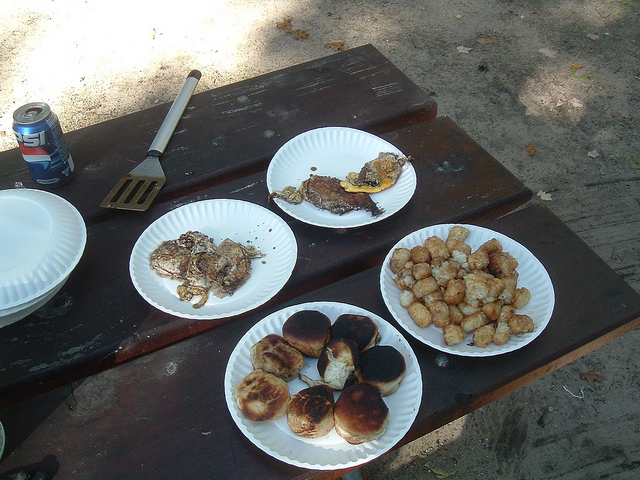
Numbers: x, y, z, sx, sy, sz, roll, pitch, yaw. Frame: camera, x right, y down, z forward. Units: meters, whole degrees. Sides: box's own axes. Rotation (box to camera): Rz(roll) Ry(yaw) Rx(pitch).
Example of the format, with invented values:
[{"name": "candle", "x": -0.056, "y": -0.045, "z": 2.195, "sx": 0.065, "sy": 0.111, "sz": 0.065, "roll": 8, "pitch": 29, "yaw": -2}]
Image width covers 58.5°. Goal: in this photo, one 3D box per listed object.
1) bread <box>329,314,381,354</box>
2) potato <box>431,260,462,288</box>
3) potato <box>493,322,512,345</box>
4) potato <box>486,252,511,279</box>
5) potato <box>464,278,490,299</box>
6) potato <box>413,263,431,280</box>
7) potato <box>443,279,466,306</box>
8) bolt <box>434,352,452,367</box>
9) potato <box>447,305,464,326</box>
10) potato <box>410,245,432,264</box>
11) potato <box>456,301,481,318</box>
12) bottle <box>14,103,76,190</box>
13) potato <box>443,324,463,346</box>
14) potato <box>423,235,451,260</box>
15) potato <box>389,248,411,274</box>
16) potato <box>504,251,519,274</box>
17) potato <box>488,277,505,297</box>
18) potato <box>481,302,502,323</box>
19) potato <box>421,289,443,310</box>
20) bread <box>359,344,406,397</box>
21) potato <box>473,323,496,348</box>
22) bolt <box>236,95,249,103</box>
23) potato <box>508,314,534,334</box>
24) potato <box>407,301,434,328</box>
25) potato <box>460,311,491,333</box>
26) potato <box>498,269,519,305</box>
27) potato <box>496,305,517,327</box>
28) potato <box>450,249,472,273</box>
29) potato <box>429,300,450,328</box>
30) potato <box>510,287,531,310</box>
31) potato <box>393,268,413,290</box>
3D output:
[{"name": "bread", "x": 0.157, "y": 0.386, "z": 2.449, "sx": 0.166, "sy": 0.043, "sz": 0.163, "roll": 31, "pitch": 50, "yaw": 21}, {"name": "potato", "x": 0.581, "y": 0.156, "z": 2.651, "sx": 0.131, "sy": 0.032, "sz": 0.088, "roll": -41, "pitch": 66, "yaw": -16}, {"name": "potato", "x": 0.804, "y": 0.413, "z": 2.529, "sx": 0.072, "sy": 0.032, "sz": 0.090, "roll": 12, "pitch": 82, "yaw": 11}, {"name": "potato", "x": 0.837, "y": 0.120, "z": 2.661, "sx": 0.097, "sy": 0.041, "sz": 0.109, "roll": -2, "pitch": 57, "yaw": 13}, {"name": "potato", "x": 0.714, "y": 0.221, "z": 2.599, "sx": 0.101, "sy": 0.059, "sz": 0.092, "roll": 2, "pitch": 64, "yaw": -6}, {"name": "potato", "x": 0.471, "y": 0.143, "z": 2.639, "sx": 0.078, "sy": 0.039, "sz": 0.069, "roll": -18, "pitch": 71, "yaw": -11}, {"name": "potato", "x": 0.616, "y": 0.239, "z": 2.599, "sx": 0.086, "sy": 0.042, "sz": 0.115, "roll": 20, "pitch": 87, "yaw": 9}, {"name": "bolt", "x": 0.543, "y": 0.531, "z": 2.546, "sx": 0.057, "sy": 0.013, "sz": 0.056, "roll": 26, "pitch": 69, "yaw": 14}, {"name": "potato", "x": 0.613, "y": 0.342, "z": 2.595, "sx": 0.077, "sy": 0.038, "sz": 0.074, "roll": 8, "pitch": 42, "yaw": 0}, {"name": "potato", "x": 0.473, "y": 0.073, "z": 2.735, "sx": 0.083, "sy": 0.039, "sz": 0.078, "roll": -2, "pitch": 59, "yaw": -1}, {"name": "potato", "x": 0.669, "y": 0.308, "z": 2.601, "sx": 0.061, "sy": 0.029, "sz": 0.079, "roll": -39, "pitch": 45, "yaw": -22}, {"name": "bottle", "x": -1.425, "y": -0.468, "z": 2.913, "sx": 0.308, "sy": 0.387, "sz": 0.293, "roll": 4, "pitch": 43, "yaw": -4}, {"name": "potato", "x": 0.595, "y": 0.420, "z": 2.522, "sx": 0.086, "sy": 0.044, "sz": 0.082, "roll": -5, "pitch": 66, "yaw": 1}, {"name": "potato", "x": 0.552, "y": 0.037, "z": 2.755, "sx": 0.086, "sy": 0.037, "sz": 0.112, "roll": -22, "pitch": 64, "yaw": -6}, {"name": "potato", "x": 0.371, "y": 0.099, "z": 2.670, "sx": 0.083, "sy": 0.031, "sz": 0.117, "roll": 39, "pitch": 84, "yaw": 13}, {"name": "potato", "x": 0.896, "y": 0.109, "z": 2.665, "sx": 0.064, "sy": 0.020, "sz": 0.072, "roll": -3, "pitch": 72, "yaw": -7}, {"name": "potato", "x": 0.798, "y": 0.215, "z": 2.597, "sx": 0.077, "sy": 0.022, "sz": 0.093, "roll": 14, "pitch": 63, "yaw": 0}, {"name": "potato", "x": 0.769, "y": 0.321, "z": 2.564, "sx": 0.079, "sy": 0.026, "sz": 0.072, "roll": 45, "pitch": 92, "yaw": 6}, {"name": "potato", "x": 0.509, "y": 0.263, "z": 2.601, "sx": 0.085, "sy": 0.075, "sz": 0.044, "roll": -41, "pitch": 81, "yaw": 18}, {"name": "bread", "x": 0.256, "y": 0.553, "z": 2.385, "sx": 0.155, "sy": 0.130, "sz": 0.168, "roll": -19, "pitch": 33, "yaw": -35}, {"name": "potato", "x": 0.730, "y": 0.426, "z": 2.550, "sx": 0.086, "sy": 0.048, "sz": 0.106, "roll": 16, "pitch": 63, "yaw": 1}, {"name": "bolt", "x": -0.464, "y": -0.834, "z": 3.420, "sx": 0.060, "sy": 0.014, "sz": 0.072, "roll": 36, "pitch": 65, "yaw": 11}, {"name": "potato", "x": 0.895, "y": 0.374, "z": 2.544, "sx": 0.114, "sy": 0.041, "sz": 0.081, "roll": 3, "pitch": 64, "yaw": -5}, {"name": "potato", "x": 0.445, "y": 0.333, "z": 2.560, "sx": 0.086, "sy": 0.052, "sz": 0.111, "roll": -37, "pitch": 71, "yaw": -11}, {"name": "potato", "x": 0.691, "y": 0.368, "z": 2.566, "sx": 0.135, "sy": 0.051, "sz": 0.071, "roll": -27, "pitch": 82, "yaw": -8}, {"name": "potato", "x": 0.859, "y": 0.215, "z": 2.660, "sx": 0.082, "sy": 0.044, "sz": 0.145, "roll": 32, "pitch": 71, "yaw": 3}, {"name": "potato", "x": 0.836, "y": 0.331, "z": 2.563, "sx": 0.057, "sy": 0.036, "sz": 0.107, "roll": 27, "pitch": 69, "yaw": 30}, {"name": "potato", "x": 0.669, "y": 0.100, "z": 2.702, "sx": 0.081, "sy": 0.029, "sz": 0.100, "roll": 2, "pitch": 57, "yaw": -9}, {"name": "potato", "x": 0.536, "y": 0.335, "z": 2.555, "sx": 0.076, "sy": 0.036, "sz": 0.115, "roll": -2, "pitch": 66, "yaw": 6}, {"name": "potato", "x": 0.913, "y": 0.263, "z": 2.601, "sx": 0.076, "sy": 0.039, "sz": 0.099, "roll": 34, "pitch": 81, "yaw": 30}, {"name": "potato", "x": 0.380, "y": 0.181, "z": 2.638, "sx": 0.095, "sy": 0.031, "sz": 0.086, "roll": -6, "pitch": 66, "yaw": 27}]
